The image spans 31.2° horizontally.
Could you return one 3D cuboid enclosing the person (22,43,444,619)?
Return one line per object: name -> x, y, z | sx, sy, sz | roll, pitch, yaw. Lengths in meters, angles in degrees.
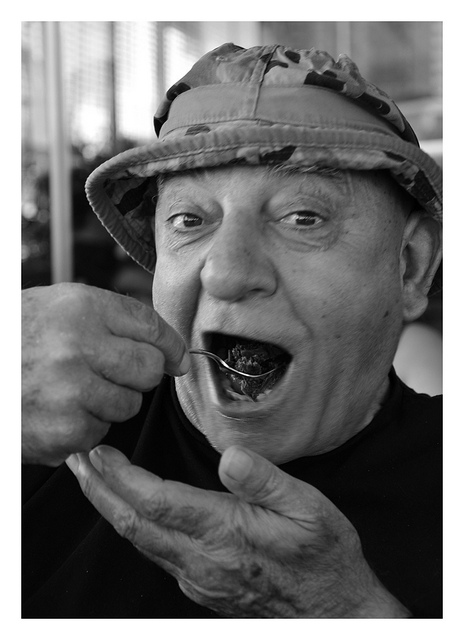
person -> 0.018, 0.043, 1.467 | 0.748, 1.022, 0.465 | 8, 16, 24
